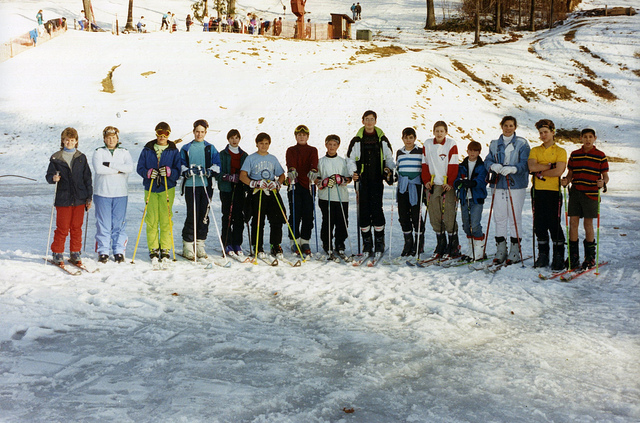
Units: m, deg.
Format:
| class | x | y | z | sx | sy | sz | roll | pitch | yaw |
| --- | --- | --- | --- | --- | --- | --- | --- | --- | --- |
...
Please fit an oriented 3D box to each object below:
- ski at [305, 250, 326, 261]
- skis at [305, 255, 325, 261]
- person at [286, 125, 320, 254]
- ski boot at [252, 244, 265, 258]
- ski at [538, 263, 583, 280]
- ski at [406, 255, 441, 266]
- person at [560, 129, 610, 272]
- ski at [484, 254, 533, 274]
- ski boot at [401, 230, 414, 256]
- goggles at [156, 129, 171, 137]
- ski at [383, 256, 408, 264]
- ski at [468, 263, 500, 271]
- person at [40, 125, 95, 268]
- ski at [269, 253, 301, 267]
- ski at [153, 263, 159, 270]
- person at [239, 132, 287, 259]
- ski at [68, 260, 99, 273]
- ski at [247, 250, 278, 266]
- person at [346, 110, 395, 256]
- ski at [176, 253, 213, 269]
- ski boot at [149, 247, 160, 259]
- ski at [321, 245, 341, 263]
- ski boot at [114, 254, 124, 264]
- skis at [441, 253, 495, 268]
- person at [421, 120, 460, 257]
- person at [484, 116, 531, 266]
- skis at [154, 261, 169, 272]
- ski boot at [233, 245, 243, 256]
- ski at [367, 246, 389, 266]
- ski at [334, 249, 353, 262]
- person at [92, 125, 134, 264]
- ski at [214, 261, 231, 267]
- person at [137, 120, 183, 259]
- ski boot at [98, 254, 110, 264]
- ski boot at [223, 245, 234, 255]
| class | x | y | z | sx | sy | sz | roll | pitch | yaw |
| --- | --- | --- | --- | --- | --- | --- | --- | --- | --- |
| ski | -0.085 | 0.991 | 12.465 | 0.276 | 0.076 | 0.272 | 8 | 5 | -25 |
| skis | -0.050 | 1.031 | 12.400 | 0.231 | 0.085 | 0.163 | 1 | 0 | -33 |
| person | -0.369 | -0.454 | 12.496 | 0.716 | 2.818 | 0.703 | -1 | 8 | -3 |
| ski boot | -1.326 | 0.890 | 12.467 | 0.141 | 0.172 | 0.409 | -2 | 6 | -17 |
| ski | 4.953 | 1.241 | 11.624 | 0.893 | 0.071 | 0.098 | -15 | 28 | -32 |
| ski | 2.262 | 1.070 | 12.236 | 0.839 | 0.109 | 0.258 | -3 | 8 | -20 |
| person | 5.437 | -0.243 | 11.684 | 0.851 | 2.865 | 0.505 | 1 | 8 | 8 |
| ski | 3.980 | 1.127 | 11.969 | 1.062 | 0.054 | 0.121 | -16 | 38 | -32 |
| ski boot | 1.911 | 0.710 | 12.628 | 0.325 | 0.538 | 0.209 | -8 | 10 | -44 |
| goggles | -3.211 | -1.611 | 11.624 | 0.263 | 0.139 | 0.155 | -3 | 8 | -17 |
| ski | 1.625 | 1.073 | 12.392 | 0.561 | 0.132 | 0.149 | -23 | 18 | -38 |
| ski | 3.411 | 1.171 | 11.892 | 0.607 | 0.099 | 0.201 | -1 | 7 | -6 |
| person | -4.959 | -0.281 | 11.321 | 0.850 | 2.744 | 0.501 | -4 | 8 | -22 |
| ski | -0.737 | 1.037 | 12.226 | 0.144 | 0.134 | 0.943 | 9 | 15 | -40 |
| ski | -3.325 | 1.125 | 11.502 | 0.092 | 0.027 | 0.090 | 1 | 42 | 0 |
| person | -1.233 | -0.362 | 12.411 | 0.930 | 2.680 | 0.978 | -1 | 8 | -7 |
| ski | -4.733 | 1.103 | 11.331 | 0.460 | 0.063 | 0.068 | 23 | 23 | 29 |
| ski | -1.221 | 0.955 | 12.238 | 0.127 | 0.207 | 0.923 | -6 | 19 | -32 |
| person | 1.119 | -0.616 | 12.451 | 1.049 | 3.139 | 0.501 | 0 | 8 | 3 |
| ski | -2.647 | 1.050 | 11.909 | 0.729 | 0.126 | 0.059 | 23 | 20 | 30 |
| ski boot | -3.425 | 0.863 | 11.686 | 0.196 | 0.179 | 0.157 | 0 | 3 | 22 |
| ski | 0.296 | 0.970 | 12.366 | 0.160 | 0.215 | 0.472 | -5 | 9 | -30 |
| ski boot | -4.113 | 0.967 | 11.654 | 0.165 | 0.117 | 0.161 | -4 | -12 | 18 |
| skis | 3.170 | 1.067 | 12.167 | 0.840 | 0.062 | 0.129 | -11 | 26 | -19 |
| person | 2.592 | -0.498 | 12.306 | 0.788 | 2.867 | 0.474 | 1 | 8 | 9 |
| person | 3.957 | -0.273 | 12.009 | 0.872 | 2.802 | 0.570 | 2 | 8 | 19 |
| skis | -3.187 | 1.114 | 11.516 | 0.359 | 0.150 | 0.128 | 0 | 8 | 9 |
| ski boot | -1.758 | 0.857 | 12.336 | 0.147 | 0.096 | 0.248 | -7 | 29 | -22 |
| ski | 1.205 | 1.012 | 12.338 | 0.128 | 0.129 | 0.757 | 14 | 31 | 15 |
| ski | 0.498 | 0.982 | 12.410 | 0.130 | 0.085 | 0.217 | -29 | 65 | -37 |
| person | -4.222 | -0.331 | 11.588 | 0.761 | 2.772 | 0.428 | -3 | 8 | -21 |
| ski | -2.041 | 1.094 | 11.844 | 0.434 | 0.076 | 0.177 | 4 | 8 | 29 |
| person | -3.304 | -0.423 | 11.725 | 0.827 | 2.780 | 0.667 | -2 | 8 | -10 |
| ski boot | -4.402 | 0.965 | 11.559 | 0.144 | 0.099 | 0.141 | -3 | 2 | -40 |
| ski boot | -1.989 | 0.825 | 12.336 | 0.155 | 0.154 | 0.181 | 1 | -18 | -6 |
